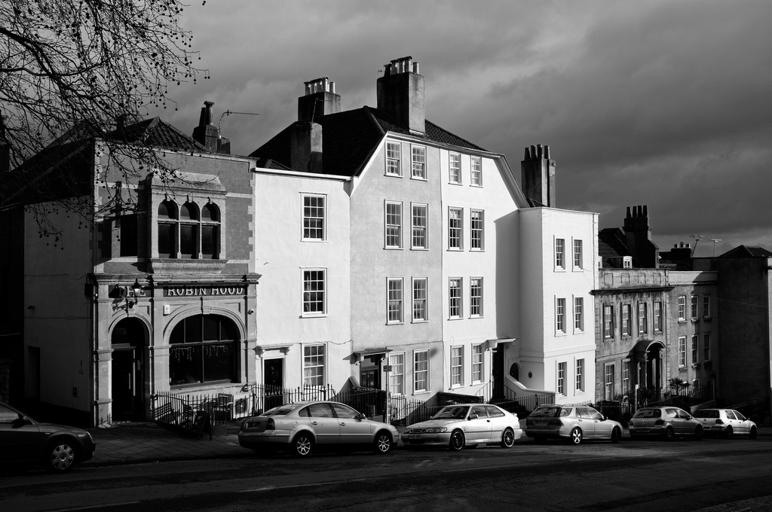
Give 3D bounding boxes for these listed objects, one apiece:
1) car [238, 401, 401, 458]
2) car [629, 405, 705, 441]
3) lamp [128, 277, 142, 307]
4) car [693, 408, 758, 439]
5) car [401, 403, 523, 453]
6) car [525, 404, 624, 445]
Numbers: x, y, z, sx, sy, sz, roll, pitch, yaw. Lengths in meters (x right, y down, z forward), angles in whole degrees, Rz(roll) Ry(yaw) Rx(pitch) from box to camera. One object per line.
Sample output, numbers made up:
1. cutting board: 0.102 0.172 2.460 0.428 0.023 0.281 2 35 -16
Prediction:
1. car: -2.851 7.301 49.839 6.259 2.111 2.592 3 -10 -33
2. car: 14.943 9.011 62.076 3.468 1.740 1.340 6 9 -10
3. lamp: -11.610 1.685 53.407 0.620 1.332 0.257 4 9 -22
4. car: 20.260 9.968 67.055 3.063 2.165 5.939 -1 -4 12
5. car: 3.526 7.858 52.469 5.848 1.995 2.199 3 -5 -40
6. car: 9.132 8.361 56.833 5.083 1.886 2.053 2 -5 -39
